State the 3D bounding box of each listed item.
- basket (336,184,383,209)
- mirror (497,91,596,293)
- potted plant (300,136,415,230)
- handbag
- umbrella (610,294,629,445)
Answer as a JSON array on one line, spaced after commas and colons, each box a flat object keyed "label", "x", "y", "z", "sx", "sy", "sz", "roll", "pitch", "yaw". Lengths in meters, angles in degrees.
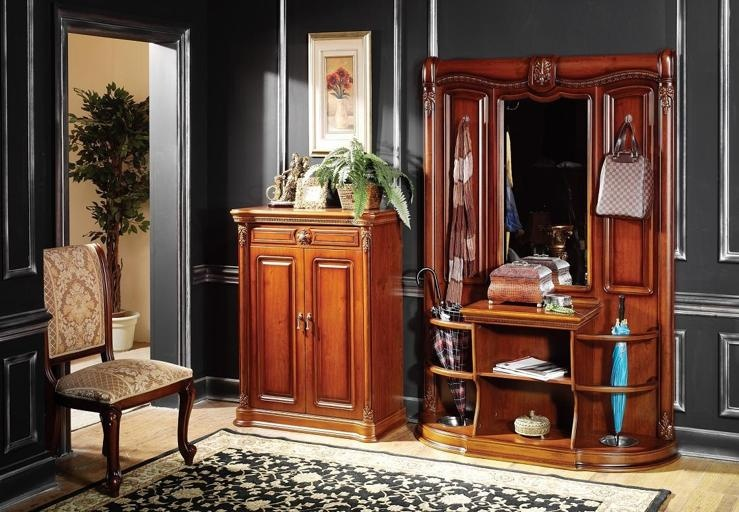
[{"label": "basket", "x": -0.084, "y": -0.417, "z": 4.847, "sx": 0.256, "sy": 0.154, "sz": 0.185, "roll": 0, "pitch": 1, "yaw": 12}, {"label": "mirror", "x": 1.254, "y": -0.522, "z": 4.736, "sx": 0.589, "sy": 1.417, "sz": 0.048, "roll": 6, "pitch": 33, "yaw": 25}, {"label": "potted plant", "x": -0.008, "y": -0.506, "z": 4.920, "sx": 0.722, "sy": 0.469, "sz": 0.552, "roll": -2, "pitch": -9, "yaw": 6}, {"label": "handbag", "x": 1.722, "y": -0.596, "z": 4.458, "sx": 0.346, "sy": 0.668, "sz": 0.122, "roll": 2, "pitch": 9, "yaw": 21}, {"label": "umbrella", "x": 1.676, "y": 0.742, "z": 4.441, "sx": 0.108, "sy": 0.955, "sz": 0.315, "roll": 2, "pitch": 9, "yaw": 21}]
